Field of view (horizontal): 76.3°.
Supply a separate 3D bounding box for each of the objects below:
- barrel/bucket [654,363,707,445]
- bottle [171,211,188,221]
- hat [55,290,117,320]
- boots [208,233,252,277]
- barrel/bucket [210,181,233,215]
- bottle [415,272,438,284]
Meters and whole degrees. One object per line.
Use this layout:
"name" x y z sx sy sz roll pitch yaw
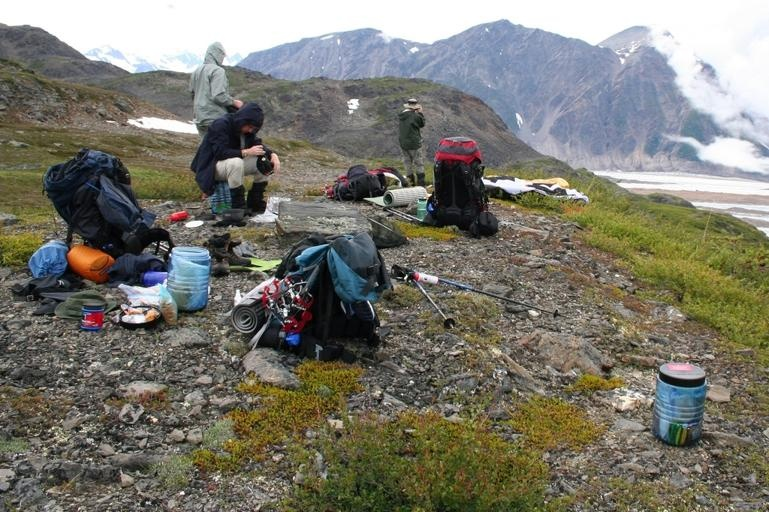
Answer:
"barrel/bucket" 4.096 2.052 6.761 0.649 1.029 0.431 7 13 19
"bottle" -5.376 -1.035 12.749 0.252 0.201 0.406 22 25 21
"hat" -5.142 0.786 8.295 0.665 0.145 0.603 3 8 12
"boots" -3.325 0.015 10.286 0.883 0.319 0.994 12 29 -14
"barrel/bucket" -4.478 -1.605 13.023 0.529 0.845 0.665 39 36 27
"bottle" 0.728 0.390 8.551 0.425 0.156 0.143 11 7 -14
